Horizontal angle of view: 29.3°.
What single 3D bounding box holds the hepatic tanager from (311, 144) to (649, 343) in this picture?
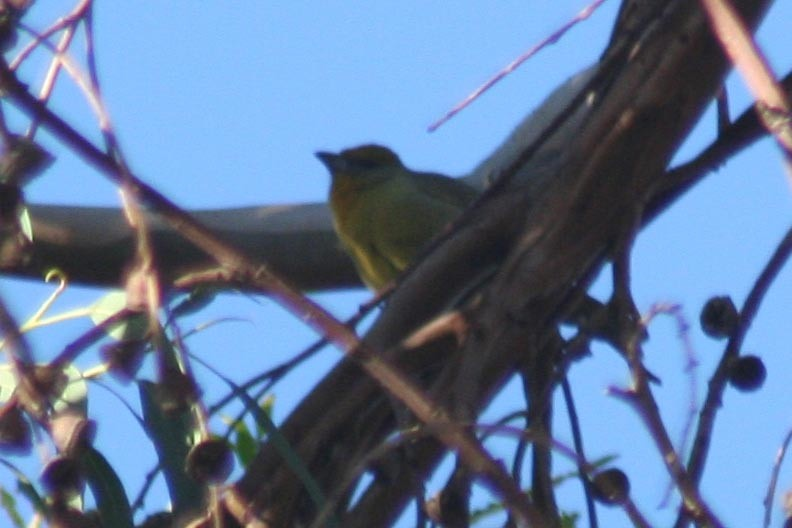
[{"bbox_3d":[0.081,-0.043,2.295,0.565,0.196,0.292,10,-91,20],"label":"hepatic tanager"}]
